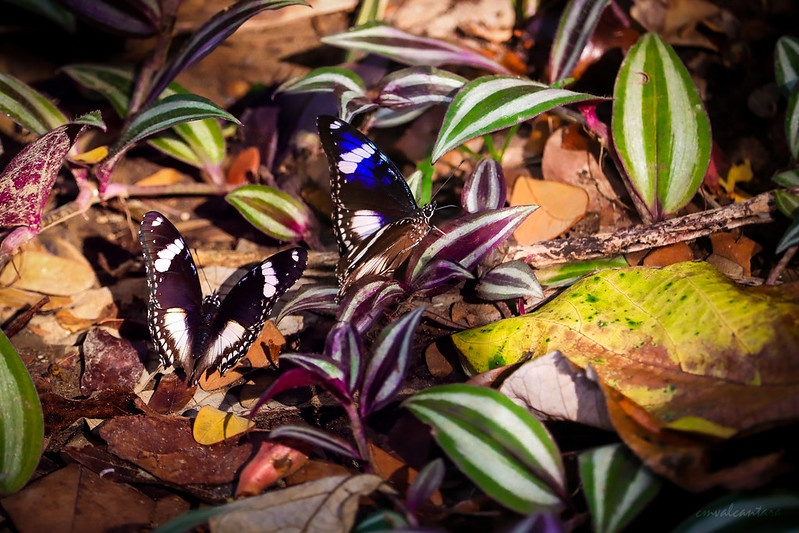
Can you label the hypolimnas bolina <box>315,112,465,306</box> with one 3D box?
[{"bbox_3d":[-0.072,-0.209,2.259,0.331,0.468,0.342,-10,37,3],"label":"hypolimnas bolina"}]
